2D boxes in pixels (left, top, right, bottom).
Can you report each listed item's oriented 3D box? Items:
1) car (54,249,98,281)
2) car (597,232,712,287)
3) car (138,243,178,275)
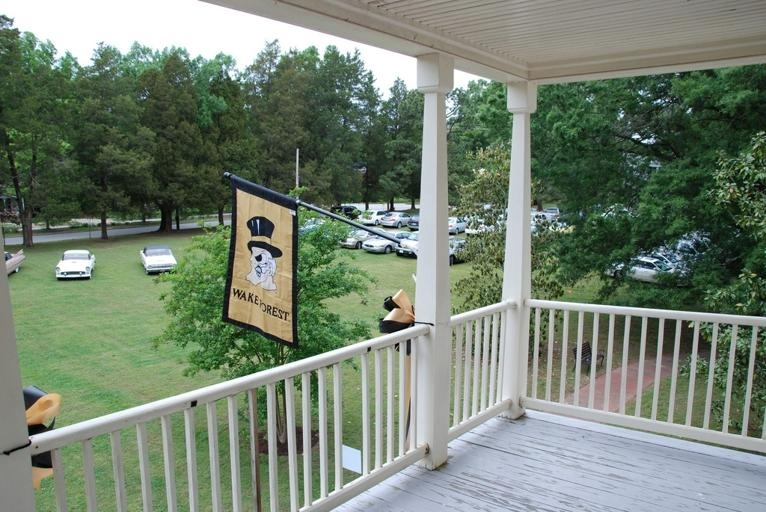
[{"bbox_3d":[-15.641,0.408,31.233,1.241,0.805,2.618,-2,11,-21],"label":"car"},{"bbox_3d":[8.821,0.054,19.411,1.219,1.821,2.590,-8,13,-39],"label":"car"},{"bbox_3d":[-11.479,0.235,31.050,1.175,0.836,2.644,-7,13,-27],"label":"car"}]
